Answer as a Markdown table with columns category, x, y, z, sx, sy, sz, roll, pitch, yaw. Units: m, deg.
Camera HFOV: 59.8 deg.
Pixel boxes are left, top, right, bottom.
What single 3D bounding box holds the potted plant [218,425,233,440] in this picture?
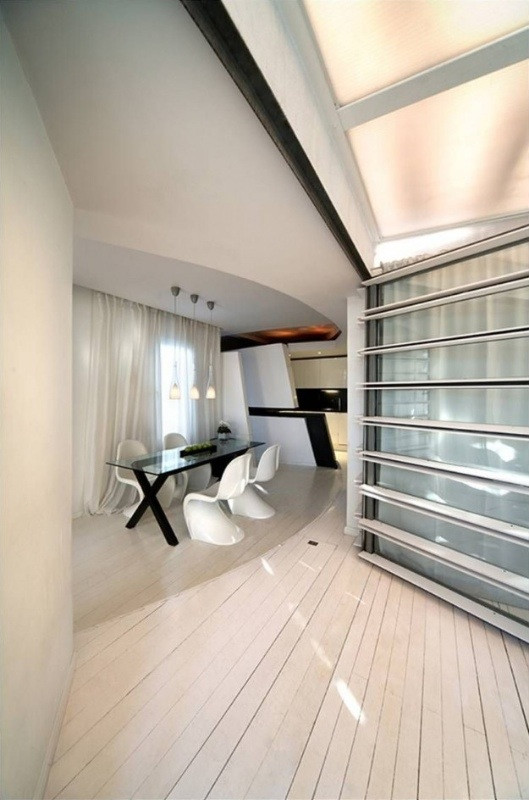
| category | x | y | z | sx | sy | sz | roll | pitch | yaw |
| --- | --- | --- | --- | --- | --- | --- | --- | --- | --- |
| potted plant | -0.510 | 0.449 | 5.704 | 0.150 | 0.185 | 0.175 | -3 | -15 | 13 |

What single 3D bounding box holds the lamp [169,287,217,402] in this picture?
| category | x | y | z | sx | sy | sz | roll | pitch | yaw |
| --- | --- | --- | --- | --- | --- | --- | --- | --- | --- |
| lamp | -0.827 | -0.627 | 5.105 | 0.196 | 1.592 | 0.873 | -2 | -3 | 32 |
